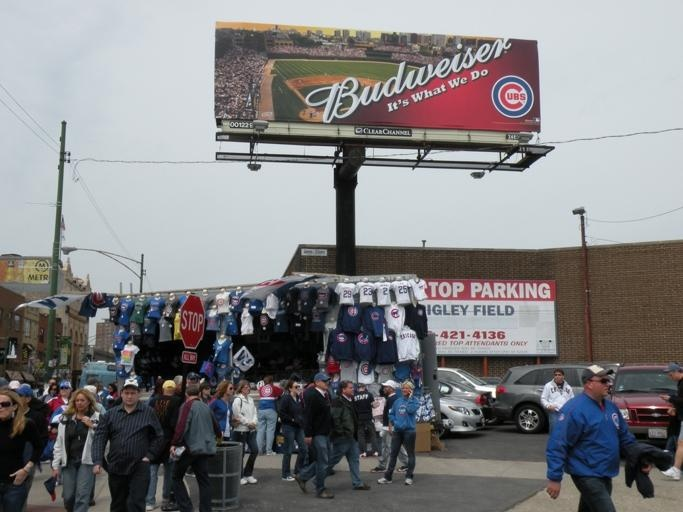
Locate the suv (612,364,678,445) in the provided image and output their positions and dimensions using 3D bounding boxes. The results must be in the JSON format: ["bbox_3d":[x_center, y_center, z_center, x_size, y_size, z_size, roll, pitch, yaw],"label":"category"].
[{"bbox_3d":[7.174,3.547,20.981,1.231,1.468,2.732,-2,-21,12],"label":"suv"}]

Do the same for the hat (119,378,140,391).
[{"bbox_3d":[-3.481,2.111,14.643,0.251,0.210,0.489,3,-12,-15],"label":"hat"}]

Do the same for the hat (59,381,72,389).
[{"bbox_3d":[-5.957,2.761,19.020,0.208,0.168,0.220,-2,-6,19],"label":"hat"}]

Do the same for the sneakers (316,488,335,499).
[{"bbox_3d":[-0.296,4.755,17.604,0.275,0.130,0.159,-7,-8,29],"label":"sneakers"}]

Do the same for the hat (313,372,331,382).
[{"bbox_3d":[-0.381,2.519,18.342,0.334,0.209,0.258,-4,-4,7],"label":"hat"}]

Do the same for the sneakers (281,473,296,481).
[{"bbox_3d":[-1.122,4.835,19.244,0.160,0.184,0.433,9,-19,-41],"label":"sneakers"}]

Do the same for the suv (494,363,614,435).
[{"bbox_3d":[6.510,4.164,26.413,4.151,1.988,1.997,-6,-7,20],"label":"suv"}]

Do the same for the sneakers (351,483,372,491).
[{"bbox_3d":[0.452,4.785,18.274,0.356,0.170,0.134,1,-2,-8],"label":"sneakers"}]

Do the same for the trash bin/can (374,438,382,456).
[{"bbox_3d":[0.996,4.999,23.097,0.288,0.588,0.302,0,0,-6],"label":"trash bin/can"}]

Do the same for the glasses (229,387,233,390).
[{"bbox_3d":[-2.293,2.791,18.507,0.072,0.089,0.026,1,-4,-34],"label":"glasses"}]

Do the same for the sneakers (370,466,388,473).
[{"bbox_3d":[0.870,4.827,19.946,0.327,0.158,0.137,2,-7,3],"label":"sneakers"}]

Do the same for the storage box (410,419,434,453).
[{"bbox_3d":[2.135,4.865,23.073,0.555,1.119,1.102,0,-6,6],"label":"storage box"}]

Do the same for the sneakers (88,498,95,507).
[{"bbox_3d":[-4.821,4.778,17.134,0.097,0.152,0.451,2,-12,-8],"label":"sneakers"}]

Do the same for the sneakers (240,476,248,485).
[{"bbox_3d":[-2.069,4.797,18.760,0.097,0.116,0.245,8,-13,-38],"label":"sneakers"}]

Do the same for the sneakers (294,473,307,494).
[{"bbox_3d":[-0.798,4.588,18.014,0.212,0.554,0.177,-13,8,6],"label":"sneakers"}]

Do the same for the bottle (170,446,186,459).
[{"bbox_3d":[-2.946,3.538,15.828,0.308,0.249,0.147,-3,-12,16],"label":"bottle"}]

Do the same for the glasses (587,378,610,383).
[{"bbox_3d":[3.820,1.830,13.010,0.151,0.044,0.148,-21,-23,40],"label":"glasses"}]

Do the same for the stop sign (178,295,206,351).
[{"bbox_3d":[-2.882,1.233,17.065,0.448,1.064,1.168,2,-12,-10],"label":"stop sign"}]

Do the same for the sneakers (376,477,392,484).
[{"bbox_3d":[0.956,4.803,18.897,0.283,0.136,0.124,6,-10,-5],"label":"sneakers"}]

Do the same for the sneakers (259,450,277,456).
[{"bbox_3d":[-1.869,5.050,22.613,0.468,0.202,0.158,0,2,-42],"label":"sneakers"}]
